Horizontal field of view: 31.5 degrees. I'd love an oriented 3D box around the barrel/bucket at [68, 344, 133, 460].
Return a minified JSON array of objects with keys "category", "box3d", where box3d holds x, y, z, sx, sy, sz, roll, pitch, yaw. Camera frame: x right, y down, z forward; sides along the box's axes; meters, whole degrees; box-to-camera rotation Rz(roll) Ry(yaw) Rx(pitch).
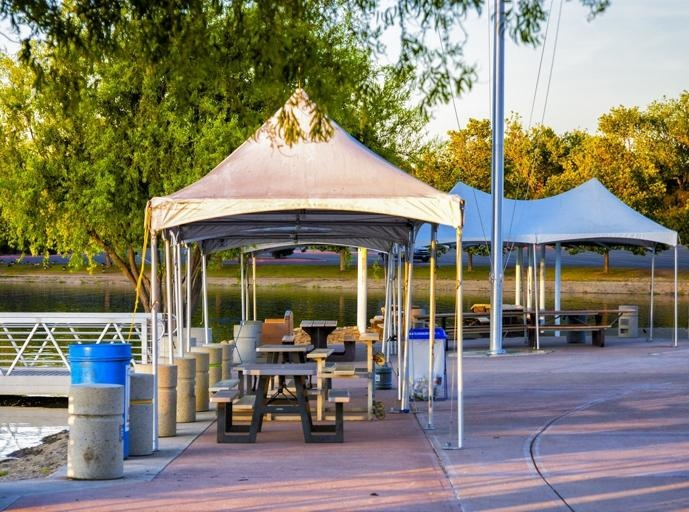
[{"category":"barrel/bucket","box3d":[-3.714,2.173,18.409,0.922,1.688,0.853,-1,-3,0]}]
